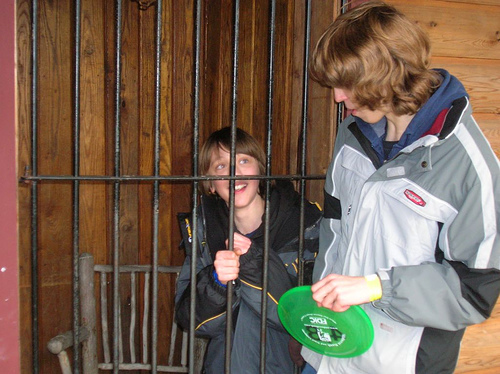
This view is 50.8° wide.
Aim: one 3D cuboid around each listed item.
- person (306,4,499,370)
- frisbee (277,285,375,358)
[{"bbox_3d":[0.510,0.010,2.012,0.680,0.986,0.453,-5,-3,4],"label":"person"},{"bbox_3d":[0.299,0.567,2.084,0.418,0.073,0.378,29,-4,-16],"label":"frisbee"}]
